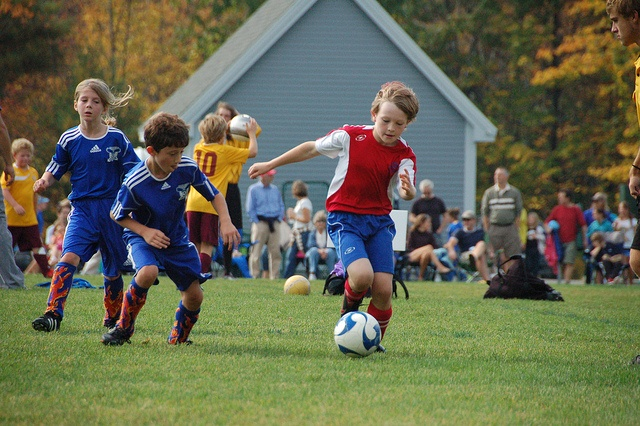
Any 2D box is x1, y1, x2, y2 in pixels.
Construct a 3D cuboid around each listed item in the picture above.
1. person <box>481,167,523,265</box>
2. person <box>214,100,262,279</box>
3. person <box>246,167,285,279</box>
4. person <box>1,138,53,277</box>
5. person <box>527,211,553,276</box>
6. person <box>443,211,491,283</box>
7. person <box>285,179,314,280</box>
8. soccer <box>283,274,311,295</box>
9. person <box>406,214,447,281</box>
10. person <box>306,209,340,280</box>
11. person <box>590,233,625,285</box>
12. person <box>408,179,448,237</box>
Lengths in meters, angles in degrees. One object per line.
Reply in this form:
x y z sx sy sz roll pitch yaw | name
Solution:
4.400 0.085 25.616 0.666 2.173 0.949 1 0 3 | person
-1.887 -0.559 23.438 1.179 3.963 0.959 2 -10 1 | person
-1.357 0.270 26.199 1.006 2.571 0.592 0 -3 -1 | person
-6.686 -0.105 23.865 1.181 3.362 1.166 0 0 36 | person
5.951 0.812 28.664 0.634 1.916 0.669 1 0 16 | person
3.769 0.862 27.018 0.978 1.796 0.802 0 2 4 | person
-0.566 0.412 27.133 0.814 2.315 0.720 1 0 -19 | person
-0.530 1.568 23.105 0.464 0.420 0.452 6 4 -34 | soccer
2.640 0.856 27.046 0.853 1.794 0.753 -2 -3 -8 | person
0.029 0.888 26.709 0.702 1.832 0.590 2 -3 -4 | person
7.639 1.234 28.430 0.678 1.513 0.533 -1 -5 -19 | person
2.869 -0.093 28.081 0.823 1.530 1.007 0 -1 1 | person
